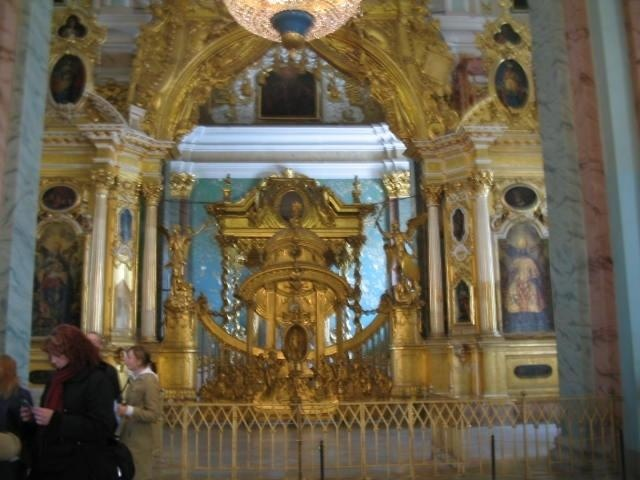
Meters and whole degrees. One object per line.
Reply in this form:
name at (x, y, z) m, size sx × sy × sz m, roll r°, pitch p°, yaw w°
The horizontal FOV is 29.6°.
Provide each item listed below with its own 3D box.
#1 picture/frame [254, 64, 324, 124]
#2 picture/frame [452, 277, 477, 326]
picture/frame at (-0.679, -3.161, 25.922) m, size 1.280 × 1.190 × 0.106 m, roll 0°, pitch -1°, yaw 3°
picture/frame at (2.432, 1.042, 20.588) m, size 0.075 × 0.761 × 0.356 m, roll 12°, pitch -20°, yaw -42°
